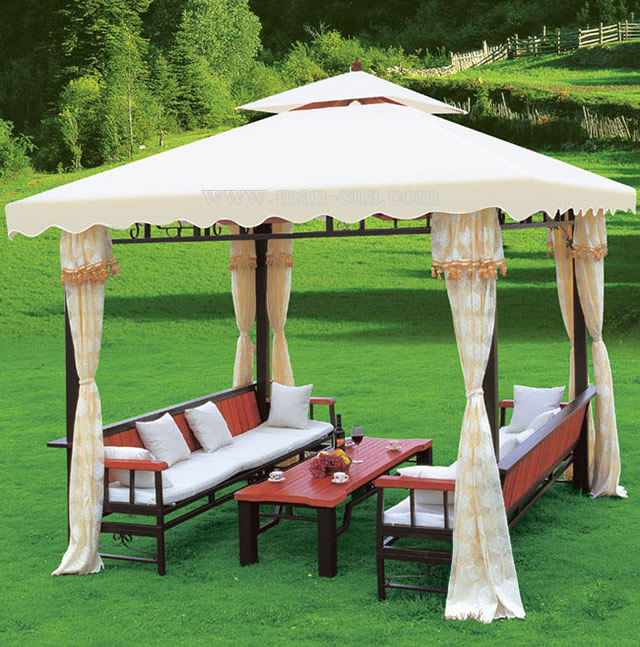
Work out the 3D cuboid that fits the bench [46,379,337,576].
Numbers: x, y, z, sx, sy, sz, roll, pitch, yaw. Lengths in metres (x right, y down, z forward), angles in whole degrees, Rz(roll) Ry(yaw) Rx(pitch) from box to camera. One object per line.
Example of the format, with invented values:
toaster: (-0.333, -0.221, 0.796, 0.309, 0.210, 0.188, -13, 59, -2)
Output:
bench: (-0.911, 1.252, 10.379, 0.918, 1.045, 3.057, -1, 6, 28)
